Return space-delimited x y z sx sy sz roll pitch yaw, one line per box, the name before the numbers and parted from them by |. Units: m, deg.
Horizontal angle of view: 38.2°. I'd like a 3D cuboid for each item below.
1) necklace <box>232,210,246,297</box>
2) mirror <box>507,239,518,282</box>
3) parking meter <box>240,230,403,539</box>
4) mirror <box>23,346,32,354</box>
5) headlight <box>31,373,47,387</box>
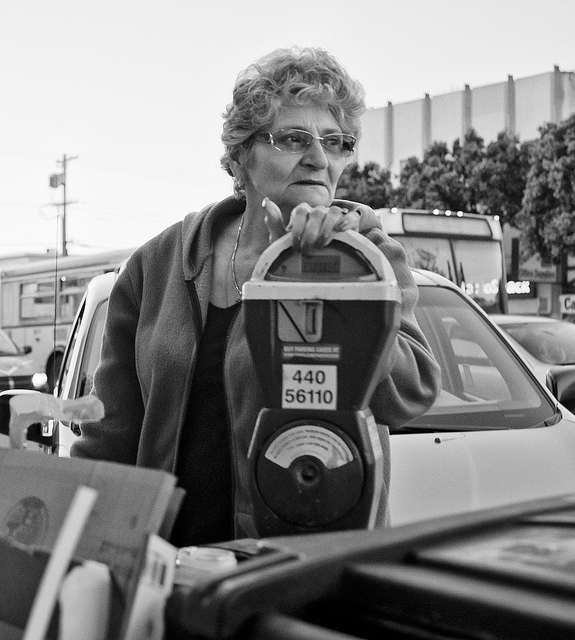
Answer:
necklace | -0.115 -0.162 2.012 0.051 0.189 0.007 25 -36 -31
mirror | 5.129 -1.345 18.708 0.138 0.965 0.602 1 0 16
parking meter | 0.043 0.190 1.598 0.246 0.879 0.181 3 28 4
mirror | -4.125 0.492 13.170 0.084 0.114 0.653 1 0 -14
headlight | -3.196 0.784 10.711 0.160 0.168 0.327 1 0 -21
